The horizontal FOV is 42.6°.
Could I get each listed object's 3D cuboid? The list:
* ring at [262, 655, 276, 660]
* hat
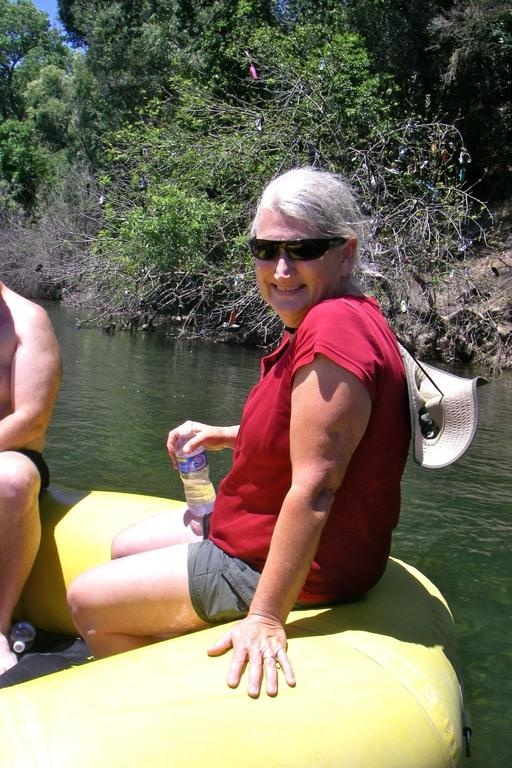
[{"bbox_3d":[0.025,0.511,1.228,0.019,0.009,0.014,2,3,-10],"label":"ring"},{"bbox_3d":[0.392,0.042,1.528,0.167,0.322,0.332,-12,1,30],"label":"hat"}]
